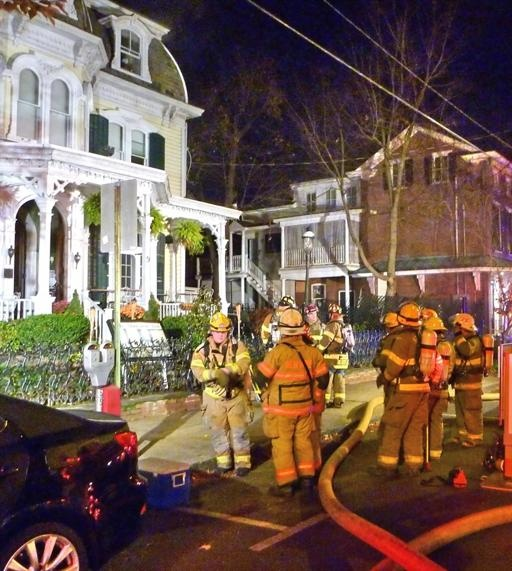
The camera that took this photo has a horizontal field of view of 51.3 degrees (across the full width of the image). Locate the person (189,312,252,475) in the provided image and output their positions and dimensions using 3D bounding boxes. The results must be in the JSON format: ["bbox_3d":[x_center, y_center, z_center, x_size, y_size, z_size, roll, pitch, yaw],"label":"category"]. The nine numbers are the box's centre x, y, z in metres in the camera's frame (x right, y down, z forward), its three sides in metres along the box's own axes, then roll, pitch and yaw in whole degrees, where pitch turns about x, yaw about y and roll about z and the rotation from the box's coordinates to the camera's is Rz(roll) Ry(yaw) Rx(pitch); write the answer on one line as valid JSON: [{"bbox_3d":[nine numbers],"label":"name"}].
[{"bbox_3d":[-0.338,1.177,5.917,0.648,1.414,0.748,-5,-2,37],"label":"person"}]

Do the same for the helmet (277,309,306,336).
[{"bbox_3d":[0.364,0.374,5.569,0.183,0.201,0.295,-1,-1,1],"label":"helmet"}]

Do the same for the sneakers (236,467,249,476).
[{"bbox_3d":[-0.149,1.985,5.780,0.147,0.080,0.125,-5,-2,-3],"label":"sneakers"}]

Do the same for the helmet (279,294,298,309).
[{"bbox_3d":[0.569,0.308,9.689,0.229,0.255,0.195,-13,14,-14],"label":"helmet"}]

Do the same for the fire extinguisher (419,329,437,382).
[{"bbox_3d":[1.826,0.745,5.678,0.176,0.547,0.346,-4,-2,19],"label":"fire extinguisher"}]

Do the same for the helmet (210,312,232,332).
[{"bbox_3d":[-0.389,0.392,5.852,0.145,0.133,0.227,1,6,-7],"label":"helmet"}]

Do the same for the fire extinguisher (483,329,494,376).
[{"bbox_3d":[3.229,0.962,7.436,0.135,0.600,0.319,-4,-2,23],"label":"fire extinguisher"}]
